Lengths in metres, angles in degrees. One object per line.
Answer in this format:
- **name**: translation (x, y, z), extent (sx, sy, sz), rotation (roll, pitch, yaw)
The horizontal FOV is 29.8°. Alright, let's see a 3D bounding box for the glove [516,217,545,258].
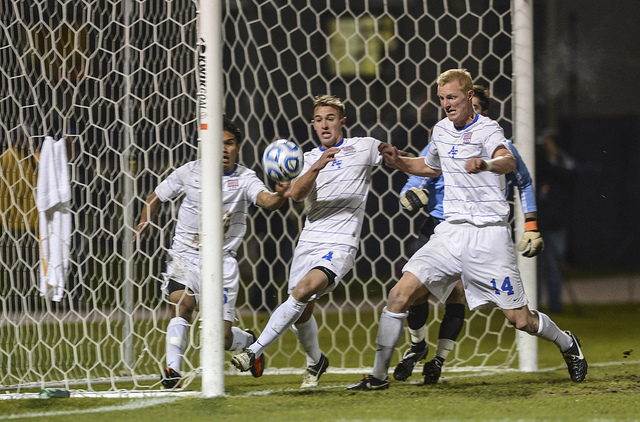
- **glove**: translation (2.010, 0.250, 11.540), extent (0.231, 0.369, 0.187), rotation (-3, -6, 8)

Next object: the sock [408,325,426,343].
- **sock**: translation (0.969, 1.224, 11.977), extent (0.149, 0.124, 0.150), rotation (2, -16, -9)

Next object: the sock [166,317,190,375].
- **sock**: translation (-1.360, 1.296, 11.595), extent (0.225, 0.478, 0.277), rotation (1, -2, -1)

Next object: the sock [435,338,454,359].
- **sock**: translation (1.229, 1.351, 11.911), extent (0.195, 0.201, 0.156), rotation (-2, -5, -2)

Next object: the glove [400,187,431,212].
- **glove**: translation (0.932, -0.116, 11.768), extent (0.266, 0.177, 0.109), rotation (-11, 20, -3)

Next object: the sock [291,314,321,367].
- **sock**: translation (-0.097, 1.279, 11.925), extent (0.182, 0.589, 0.192), rotation (-9, 2, 42)

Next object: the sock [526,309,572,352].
- **sock**: translation (2.188, 1.142, 11.623), extent (0.302, 0.415, 0.564), rotation (0, -5, -2)

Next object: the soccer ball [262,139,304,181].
- **soccer ball**: translation (-0.372, -0.444, 11.753), extent (0.403, 0.431, 0.387), rotation (2, -20, 1)

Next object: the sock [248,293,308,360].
- **sock**: translation (-0.402, 1.100, 11.617), extent (0.563, 0.611, 0.221), rotation (-2, -6, -4)

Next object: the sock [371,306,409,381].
- **sock**: translation (0.676, 1.243, 11.466), extent (0.295, 0.637, 0.340), rotation (-1, 1, 4)
